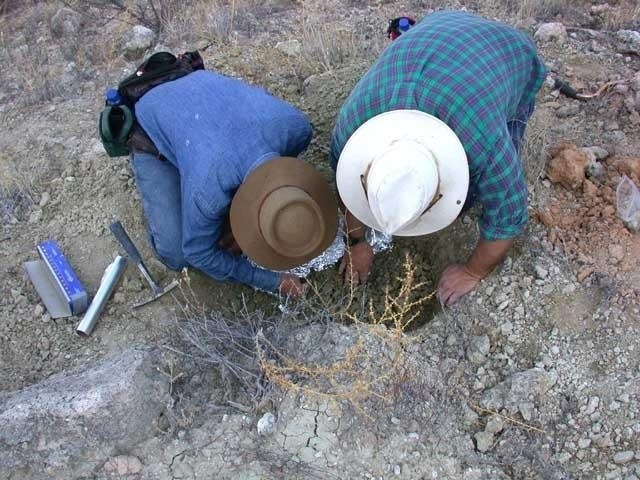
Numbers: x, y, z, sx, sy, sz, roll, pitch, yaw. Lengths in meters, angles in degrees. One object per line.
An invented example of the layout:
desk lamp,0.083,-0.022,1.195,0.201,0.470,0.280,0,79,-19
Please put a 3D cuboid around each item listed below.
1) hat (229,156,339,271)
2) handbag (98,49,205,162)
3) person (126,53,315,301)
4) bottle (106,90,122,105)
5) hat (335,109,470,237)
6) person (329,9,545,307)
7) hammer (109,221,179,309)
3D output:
hat,-0.278,-0.178,4.865,0.869,0.679,0.593,-8,50,-11
handbag,-1.888,-1.453,6.120,1.728,0.724,1.489,-12,27,-39
person,-0.958,-0.519,5.500,1.332,0.895,2.250,-33,87,-9
bottle,-1.851,-1.282,5.453,0.109,0.119,0.131,1,91,-3
hat,0.615,-0.463,4.649,0.856,0.797,0.771,-20,53,-20
person,1.008,-0.976,5.068,1.344,1.105,2.449,7,57,28
hammer,-1.693,0.211,5.525,0.911,0.207,0.563,51,32,13
